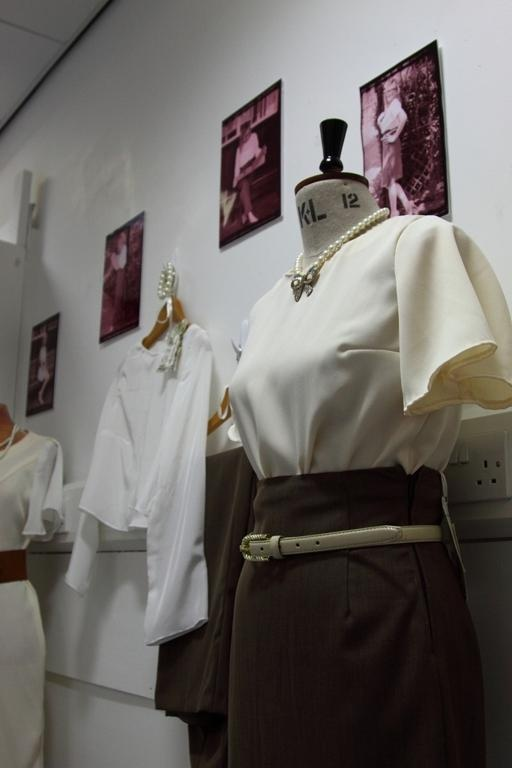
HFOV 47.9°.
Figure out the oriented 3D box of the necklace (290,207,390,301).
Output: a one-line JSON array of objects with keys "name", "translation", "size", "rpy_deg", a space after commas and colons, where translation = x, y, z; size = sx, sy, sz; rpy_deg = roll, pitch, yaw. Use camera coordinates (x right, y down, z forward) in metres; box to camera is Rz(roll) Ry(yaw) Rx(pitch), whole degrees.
[{"name": "necklace", "translation": [0.129, -0.197, 0.883], "size": [0.139, 0.079, 0.131], "rpy_deg": [-37, 15, 17]}]
